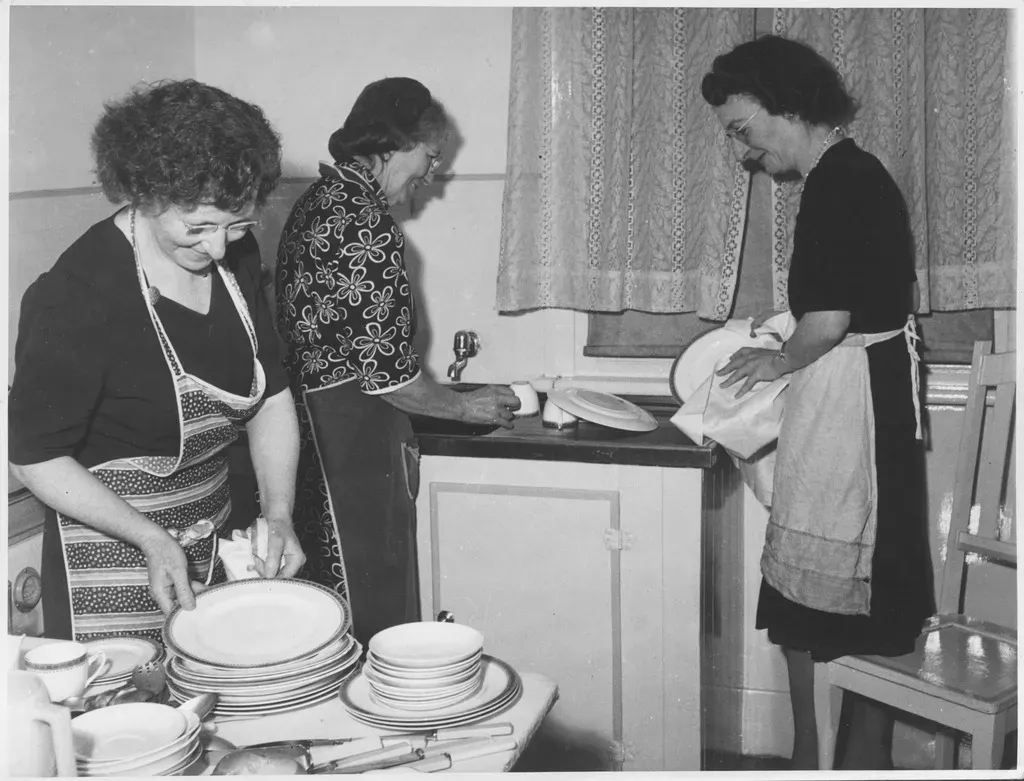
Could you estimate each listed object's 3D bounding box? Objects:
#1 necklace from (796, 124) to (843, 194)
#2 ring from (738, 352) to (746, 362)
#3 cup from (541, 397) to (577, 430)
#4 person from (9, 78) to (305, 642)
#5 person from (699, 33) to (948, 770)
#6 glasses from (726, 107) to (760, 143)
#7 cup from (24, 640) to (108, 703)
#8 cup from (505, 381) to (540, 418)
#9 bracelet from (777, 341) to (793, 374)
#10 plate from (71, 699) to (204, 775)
[{"bbox_3d":[0.662,-0.492,2.469,0.105,0.130,0.124,13,17,22],"label":"necklace"},{"bbox_3d":[0.506,-0.072,2.531,0.022,0.008,0.011,-3,33,27],"label":"ring"},{"bbox_3d":[0.112,0.052,2.782,0.070,0.070,0.073,0,6,0],"label":"cup"},{"bbox_3d":[-0.617,-0.039,2.055,0.487,0.989,0.523,0,3,-11],"label":"person"},{"bbox_3d":[0.681,0.077,2.565,0.523,1.663,0.400,2,3,14],"label":"person"},{"bbox_3d":[0.494,-0.563,2.451,0.015,0.055,0.052,26,30,23],"label":"glasses"},{"bbox_3d":[-0.654,0.408,1.696,0.077,0.067,0.097,-2,-5,12],"label":"cup"},{"bbox_3d":[0.035,0.025,2.893,0.071,0.074,0.075,0,9,0],"label":"cup"},{"bbox_3d":[0.581,-0.076,2.472,0.013,0.052,0.037,6,8,-4],"label":"bracelet"},{"bbox_3d":[-0.532,0.492,1.618,0.183,0.075,0.099,1,3,-10],"label":"plate"}]
